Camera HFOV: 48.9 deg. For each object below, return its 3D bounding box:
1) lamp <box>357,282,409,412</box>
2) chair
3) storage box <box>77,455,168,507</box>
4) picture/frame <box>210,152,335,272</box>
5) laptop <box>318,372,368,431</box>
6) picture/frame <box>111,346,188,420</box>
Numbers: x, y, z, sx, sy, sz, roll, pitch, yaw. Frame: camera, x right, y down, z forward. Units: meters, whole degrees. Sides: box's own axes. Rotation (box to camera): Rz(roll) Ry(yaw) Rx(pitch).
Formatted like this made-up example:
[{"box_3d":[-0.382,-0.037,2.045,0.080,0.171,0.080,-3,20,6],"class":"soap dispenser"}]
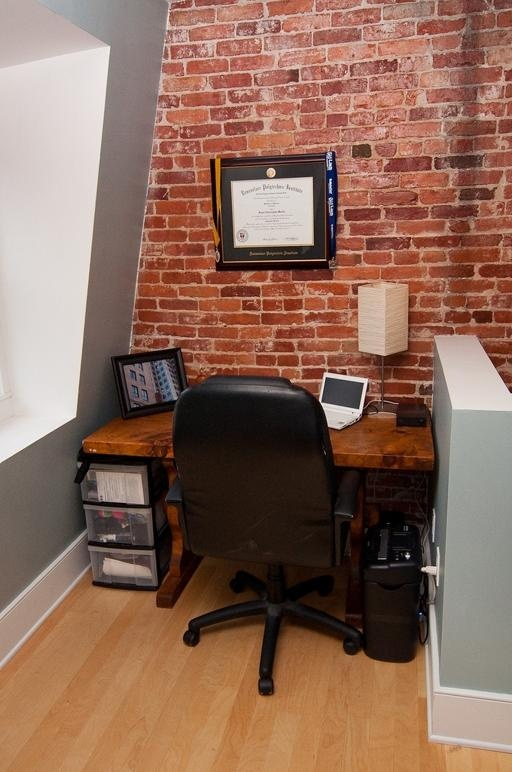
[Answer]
[{"box_3d":[0.529,-0.271,2.347,0.200,0.281,0.148,0,8,12],"class":"lamp"},{"box_3d":[0.049,0.388,1.824,0.576,1.064,0.623,4,21,12],"class":"chair"},{"box_3d":[-0.569,0.414,2.459,0.337,0.239,0.294,-2,7,7],"class":"storage box"},{"box_3d":[0.091,-0.787,2.486,0.457,0.463,0.037,1,14,12],"class":"picture/frame"},{"box_3d":[0.368,0.068,2.425,0.225,0.182,0.213,8,21,31],"class":"laptop"},{"box_3d":[-0.481,-0.006,2.509,0.019,0.260,0.283,-5,7,45],"class":"picture/frame"}]
